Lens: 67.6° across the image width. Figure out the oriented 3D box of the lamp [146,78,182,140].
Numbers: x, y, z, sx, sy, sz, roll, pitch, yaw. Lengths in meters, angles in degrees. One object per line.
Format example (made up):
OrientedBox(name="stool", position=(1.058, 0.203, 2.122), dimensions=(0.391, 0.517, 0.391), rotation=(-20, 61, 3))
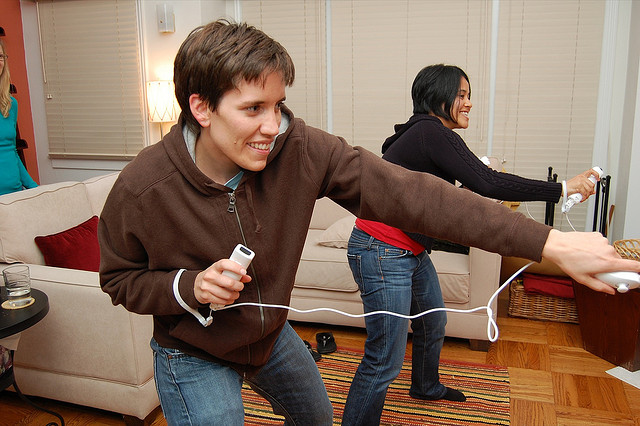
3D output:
OrientedBox(name="lamp", position=(-1.566, -1.103, 4.721), dimensions=(0.303, 0.392, 0.259), rotation=(-5, 16, -19))
